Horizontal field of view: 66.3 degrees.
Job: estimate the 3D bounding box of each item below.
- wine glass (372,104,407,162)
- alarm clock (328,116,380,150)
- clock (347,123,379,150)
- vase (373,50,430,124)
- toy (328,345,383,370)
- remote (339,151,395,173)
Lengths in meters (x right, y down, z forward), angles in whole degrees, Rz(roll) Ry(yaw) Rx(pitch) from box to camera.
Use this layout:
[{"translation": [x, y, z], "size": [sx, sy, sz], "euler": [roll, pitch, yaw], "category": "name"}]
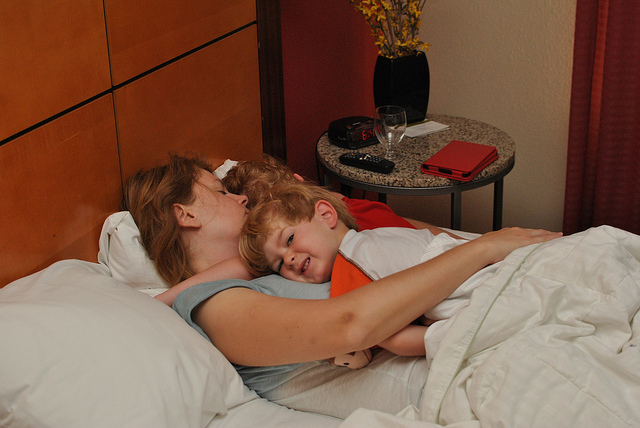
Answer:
[{"translation": [0.294, -0.337, 2.040], "size": [0.110, 0.210, 0.135], "euler": [-24, 32, -38], "category": "wine glass"}, {"translation": [0.159, -0.375, 2.259], "size": [0.236, 0.109, 0.227], "euler": [-16, 30, -31], "category": "alarm clock"}, {"translation": [0.202, -0.352, 2.211], "size": [0.161, 0.076, 0.084], "euler": [-17, 14, -16], "category": "clock"}, {"translation": [0.366, -0.571, 2.201], "size": [0.269, 0.384, 0.212], "euler": [-17, 28, -25], "category": "vase"}, {"translation": [0.096, 0.387, 1.344], "size": [0.089, 0.035, 0.067], "euler": [-7, 13, 22], "category": "toy"}, {"translation": [0.197, -0.216, 1.993], "size": [0.204, 0.047, 0.084], "euler": [14, 38, 22], "category": "remote"}]
